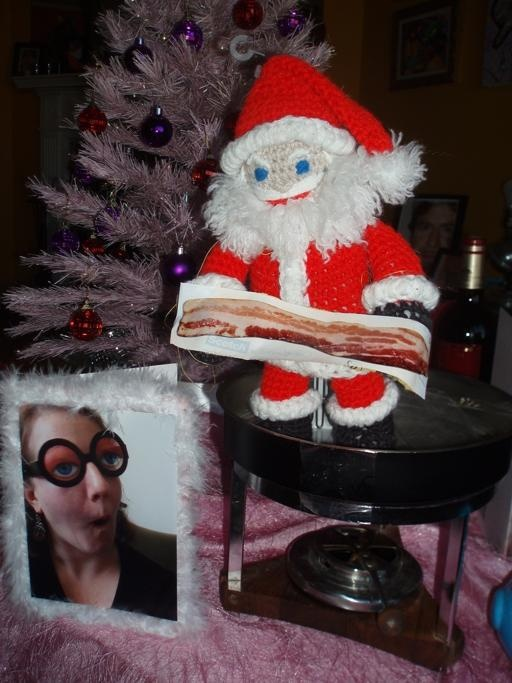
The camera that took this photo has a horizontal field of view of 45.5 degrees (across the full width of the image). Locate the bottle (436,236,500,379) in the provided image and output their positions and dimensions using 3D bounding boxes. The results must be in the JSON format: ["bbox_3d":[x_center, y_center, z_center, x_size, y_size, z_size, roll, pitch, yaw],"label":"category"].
[{"bbox_3d":[0.384,-0.054,1.106,0.110,0.263,0.293,8,13,15],"label":"bottle"}]

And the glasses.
[{"bbox_3d":[-0.198,0.123,0.677,0.072,0.033,0.085,-2,-4,-37],"label":"glasses"}]
